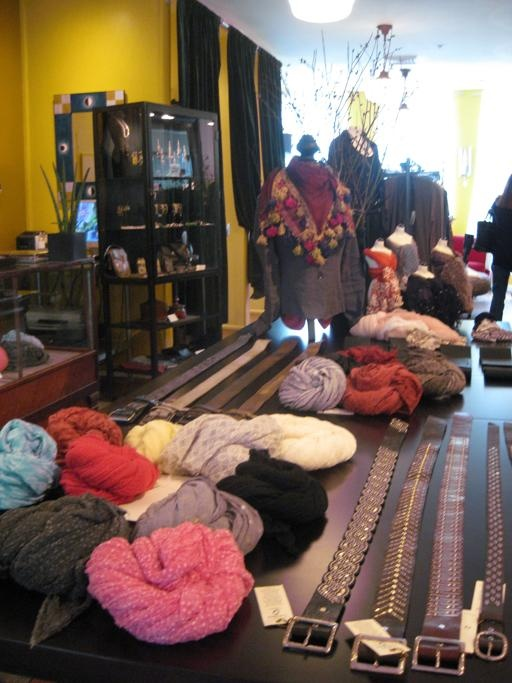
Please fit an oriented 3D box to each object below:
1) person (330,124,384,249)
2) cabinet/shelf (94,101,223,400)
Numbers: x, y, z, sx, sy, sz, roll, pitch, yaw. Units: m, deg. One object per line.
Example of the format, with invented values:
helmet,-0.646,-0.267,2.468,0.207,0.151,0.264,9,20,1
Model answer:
person,0.751,-1.064,3.708,0.259,0.805,0.673,10,12,40
cabinet/shelf,-0.697,-0.718,4.036,0.429,1.994,0.930,8,14,32
